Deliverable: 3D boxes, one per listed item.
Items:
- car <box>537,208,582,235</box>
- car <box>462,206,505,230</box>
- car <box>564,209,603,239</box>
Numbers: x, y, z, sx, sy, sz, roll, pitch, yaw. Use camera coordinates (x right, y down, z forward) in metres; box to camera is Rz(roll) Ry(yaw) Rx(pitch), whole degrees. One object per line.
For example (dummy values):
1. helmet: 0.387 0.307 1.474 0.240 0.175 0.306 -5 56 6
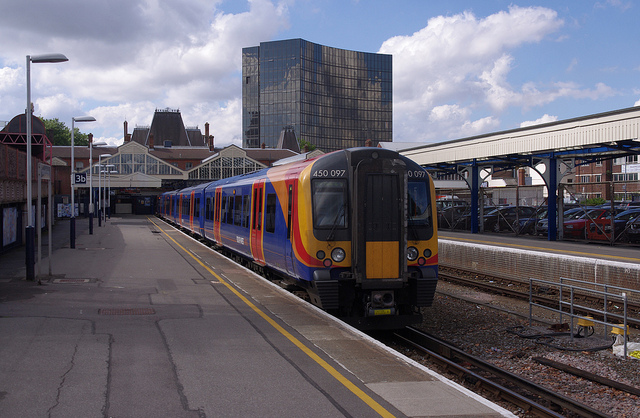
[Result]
1. car: 14.795 0.866 33.051 3.524 1.404 1.635 -1 1 -12
2. car: 11.966 0.751 38.594 3.497 1.269 1.598 -7 6 -32
3. car: 15.700 0.823 30.031 2.708 1.235 1.277 -1 1 -22
